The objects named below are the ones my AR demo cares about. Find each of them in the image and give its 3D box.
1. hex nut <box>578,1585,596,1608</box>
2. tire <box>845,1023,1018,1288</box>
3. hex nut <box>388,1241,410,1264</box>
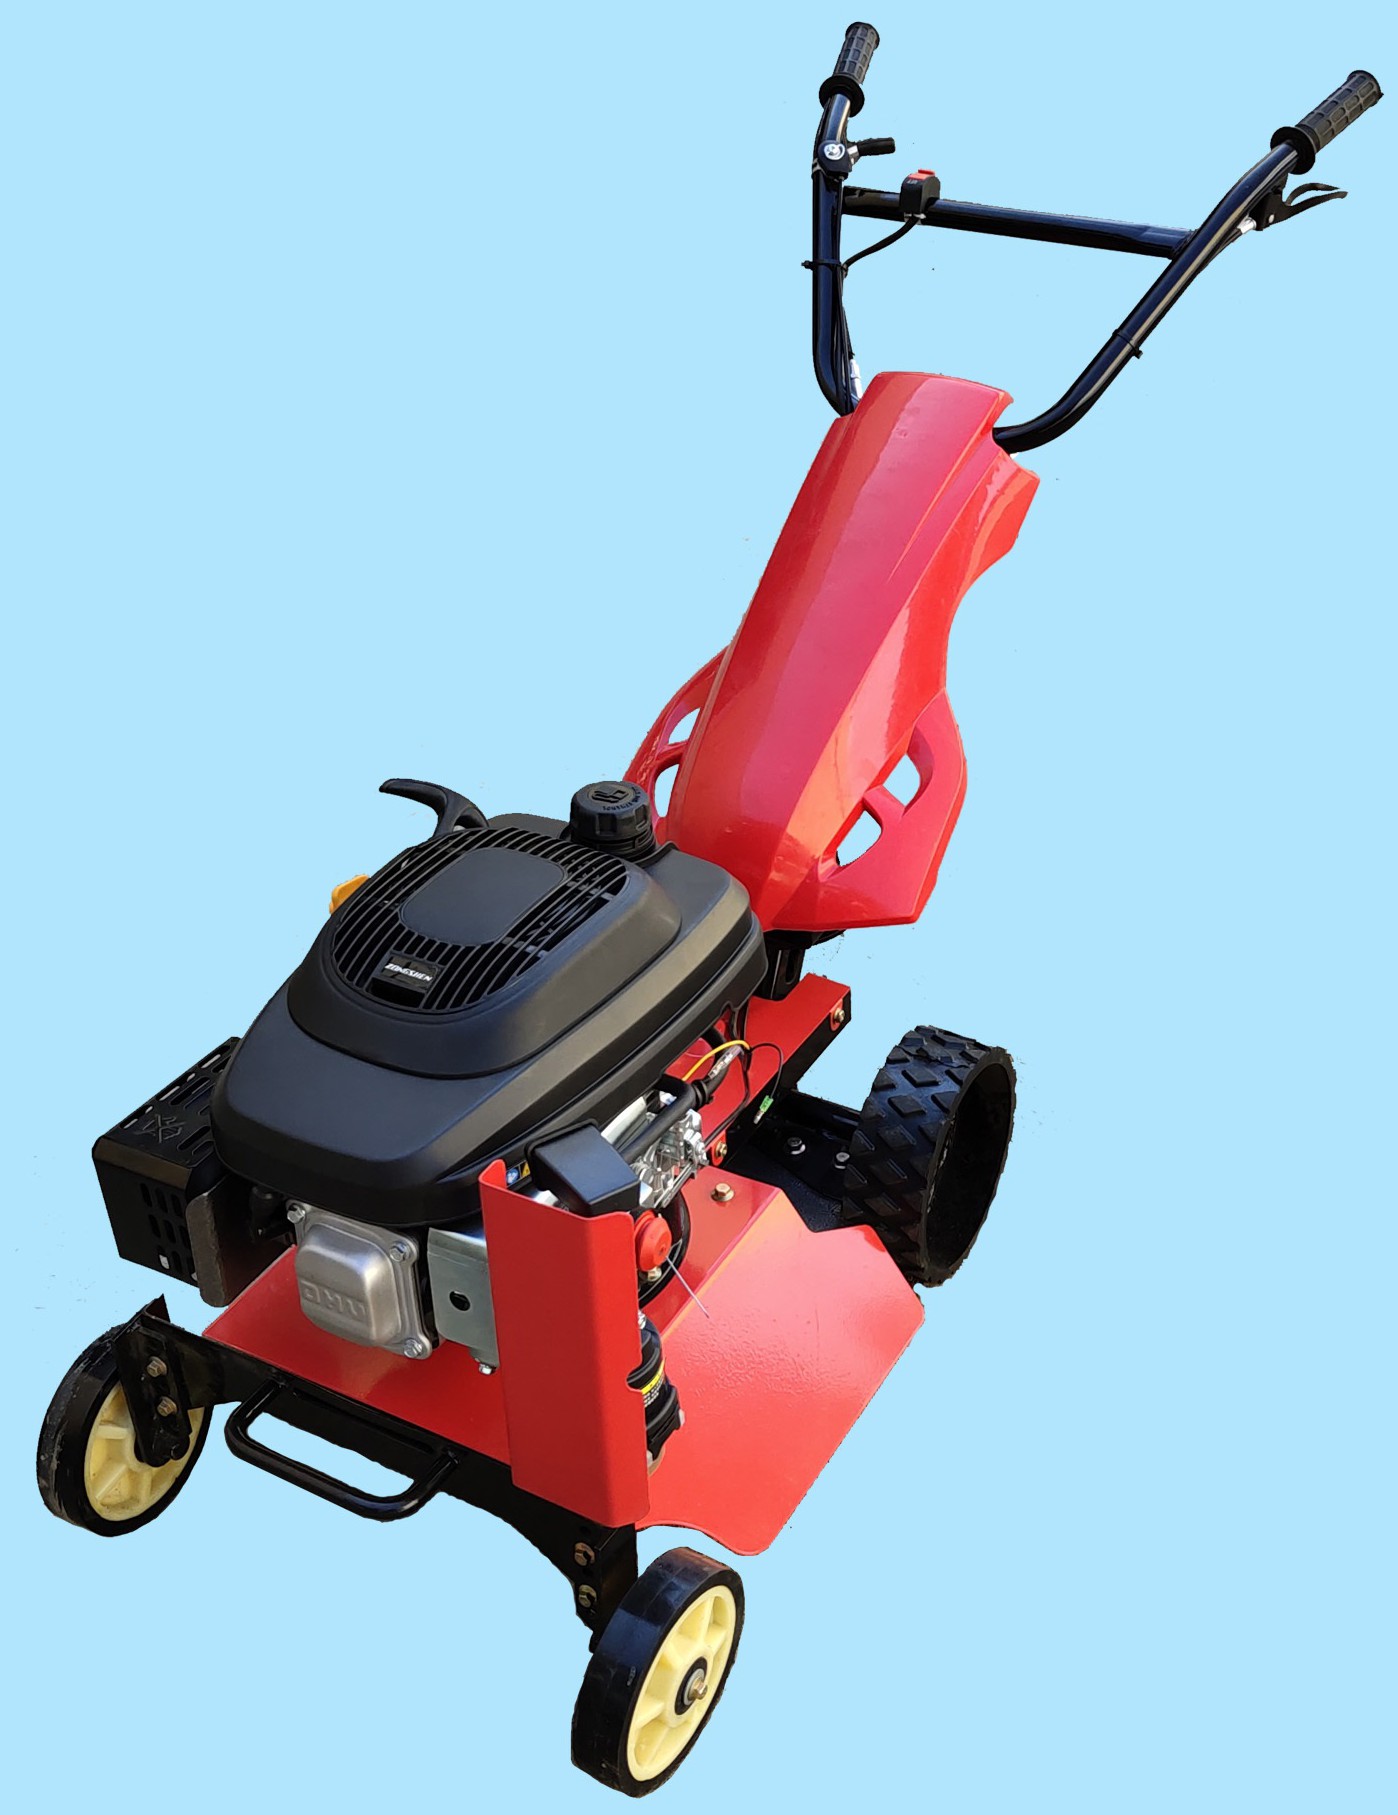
[{"bbox_3d":[-0.189,1.180,3.506,0.037,0.012,0.044,-5,-89,31],"label":"hex nut"},{"bbox_3d":[0.468,0.531,4.313,0.226,0.583,0.587,15,-37,20],"label":"tire"},{"bbox_3d":[-0.484,0.551,3.257,0.038,0.012,0.031,6,-70,12],"label":"hex nut"}]
